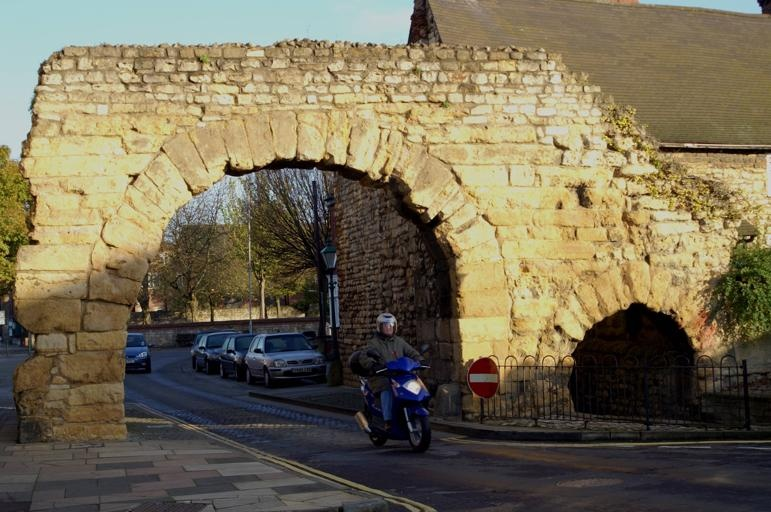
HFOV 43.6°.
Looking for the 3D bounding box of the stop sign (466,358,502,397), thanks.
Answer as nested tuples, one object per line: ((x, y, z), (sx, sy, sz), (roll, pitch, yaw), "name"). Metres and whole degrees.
((1.903, 2.406, 18.991), (0.857, 0.807, 0.114), (-1, -8, -21), "stop sign")

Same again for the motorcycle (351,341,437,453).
((0.154, 2.656, 17.103), (0.738, 1.646, 1.326), (6, -12, -39), "motorcycle")

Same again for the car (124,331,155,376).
((-9.116, 3.597, 35.606), (0.861, 1.534, 1.881), (1, -10, -14), "car")

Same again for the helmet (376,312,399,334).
((0.027, 1.247, 17.617), (0.302, 0.325, 0.386), (0, -5, -19), "helmet")
